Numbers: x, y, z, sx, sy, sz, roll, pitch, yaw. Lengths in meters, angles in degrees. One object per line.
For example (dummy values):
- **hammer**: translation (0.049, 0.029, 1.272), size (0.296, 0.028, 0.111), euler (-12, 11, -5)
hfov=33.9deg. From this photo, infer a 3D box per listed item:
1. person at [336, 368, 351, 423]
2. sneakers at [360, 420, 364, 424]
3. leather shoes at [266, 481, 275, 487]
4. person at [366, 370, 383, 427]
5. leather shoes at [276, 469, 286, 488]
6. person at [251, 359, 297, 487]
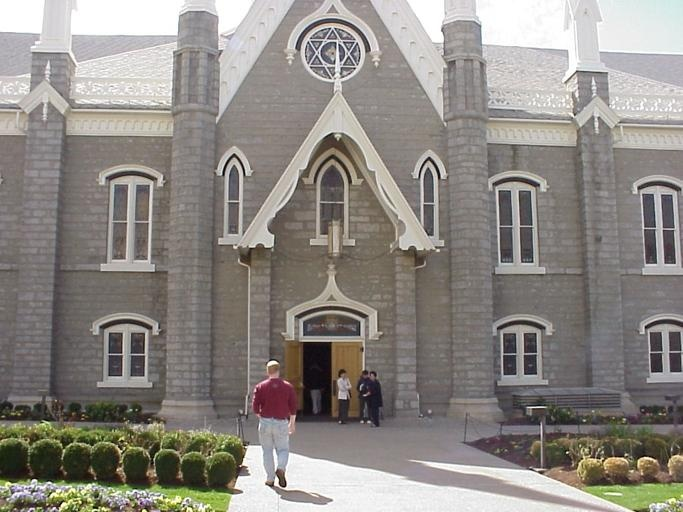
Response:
- **person**: translation (0.103, 4.708, 37.401), size (0.519, 1.859, 1.246), euler (-1, -10, 0)
- **sneakers**: translation (0.707, 5.522, 37.025), size (0.146, 0.076, 0.097), euler (3, 2, 23)
- **leather shoes**: translation (-1.799, 5.844, 28.599), size (0.137, 0.133, 0.225), euler (3, 7, -17)
- **person**: translation (1.101, 4.702, 36.688), size (0.463, 1.829, 1.124), euler (-1, -10, 1)
- **leather shoes**: translation (-1.486, 5.686, 28.518), size (0.218, 0.501, 0.211), euler (-11, -1, 13)
- **person**: translation (-1.660, 4.325, 28.522), size (0.881, 3.194, 0.910), euler (-7, -12, 30)
